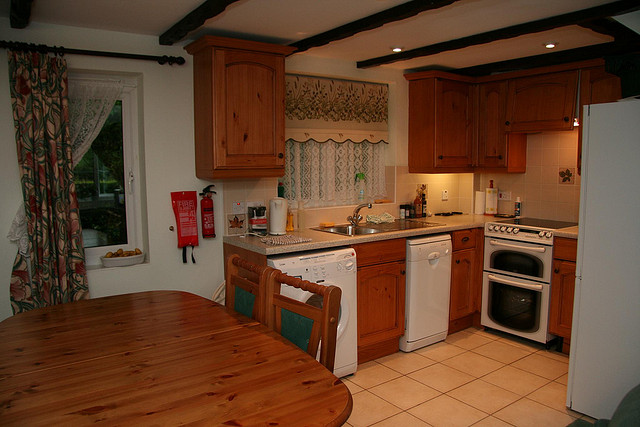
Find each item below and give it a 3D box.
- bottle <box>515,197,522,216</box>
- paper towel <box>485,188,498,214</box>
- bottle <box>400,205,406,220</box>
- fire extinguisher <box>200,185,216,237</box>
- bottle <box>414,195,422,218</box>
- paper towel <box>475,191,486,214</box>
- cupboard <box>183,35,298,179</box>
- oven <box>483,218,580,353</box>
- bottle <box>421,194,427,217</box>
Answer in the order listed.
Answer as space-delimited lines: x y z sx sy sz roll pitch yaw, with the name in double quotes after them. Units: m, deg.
2.398 -0.086 5.078 0.076 0.214 0.068 2 13 13 "bottle"
2.135 -0.160 5.215 0.169 0.315 0.133 0 13 1 "paper towel"
0.972 -0.021 4.960 0.065 0.162 0.055 1 13 7 "bottle"
-1.044 -0.024 3.939 0.143 0.477 0.135 -4 13 -15 "fire extinguisher"
1.167 -0.089 5.047 0.103 0.264 0.078 -5 14 -21 "bottle"
2.004 -0.134 5.264 0.120 0.279 0.094 4 13 18 "paper towel"
-0.726 -0.941 3.885 0.905 1.160 0.551 -7 14 -36 "cupboard"
2.342 0.686 4.686 0.949 1.205 0.767 -10 11 -37 "oven"
1.250 -0.097 5.086 0.059 0.273 0.102 3 13 15 "bottle"
